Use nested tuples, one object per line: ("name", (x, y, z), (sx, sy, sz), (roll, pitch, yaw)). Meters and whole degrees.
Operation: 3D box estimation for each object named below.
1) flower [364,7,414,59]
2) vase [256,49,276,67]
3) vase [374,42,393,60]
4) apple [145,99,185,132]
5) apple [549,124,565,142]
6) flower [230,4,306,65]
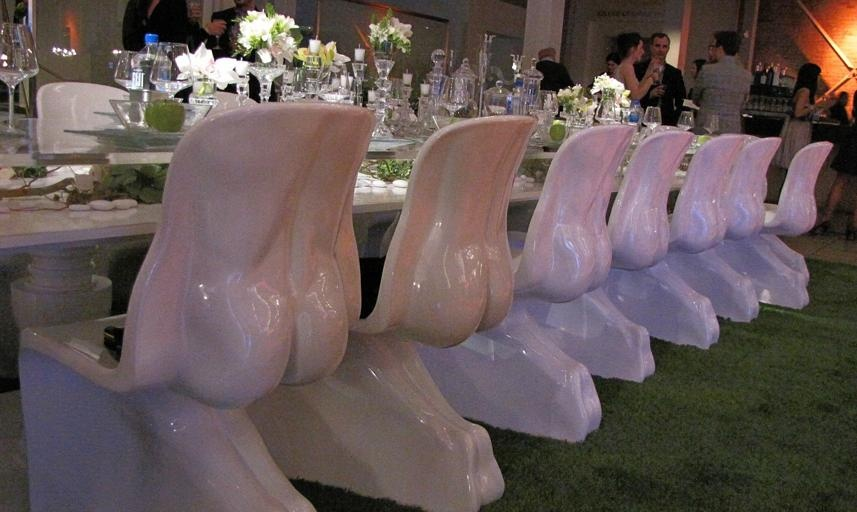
("flower", (-0.183, -1.084, 2.896), (0.179, 0.222, 0.333), (5, 17, 1))
("vase", (-0.680, -0.835, 2.481), (0.059, 0.066, 0.058), (11, 15, 30))
("vase", (-0.212, -1.011, 2.907), (0.080, 0.089, 0.078), (-5, 9, -26))
("apple", (-0.890, -0.472, 1.996), (0.132, 0.104, 0.131), (8, 11, 35))
("apple", (0.742, -0.703, 3.424), (0.094, 0.093, 0.092), (-18, 30, -37))
("flower", (-0.682, -0.949, 2.547), (0.261, 0.223, 0.216), (0, 17, -14))
